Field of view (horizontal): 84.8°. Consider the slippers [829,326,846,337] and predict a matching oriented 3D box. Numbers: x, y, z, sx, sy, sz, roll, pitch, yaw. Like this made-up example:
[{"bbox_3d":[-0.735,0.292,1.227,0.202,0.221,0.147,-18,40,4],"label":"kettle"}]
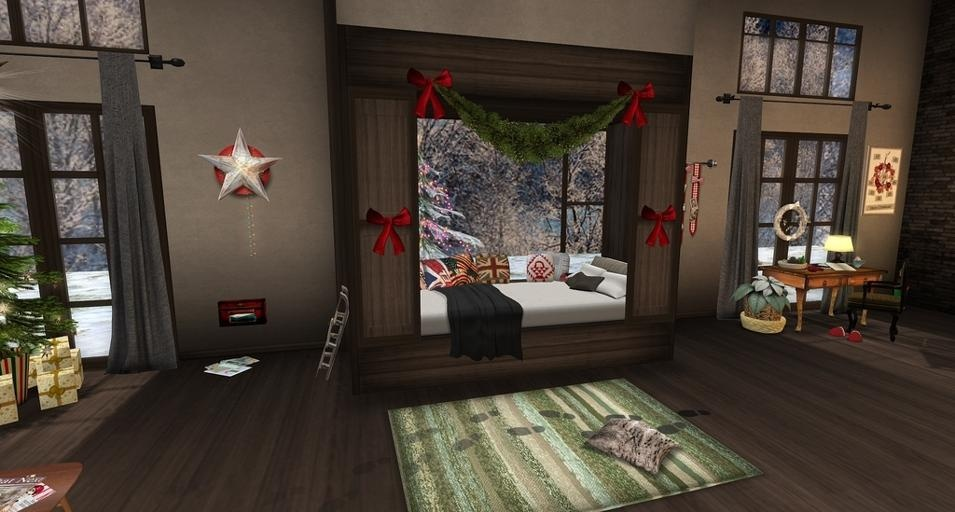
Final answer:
[{"bbox_3d":[6.867,1.443,9.899,0.237,0.079,0.214,-3,7,-6],"label":"slippers"}]
